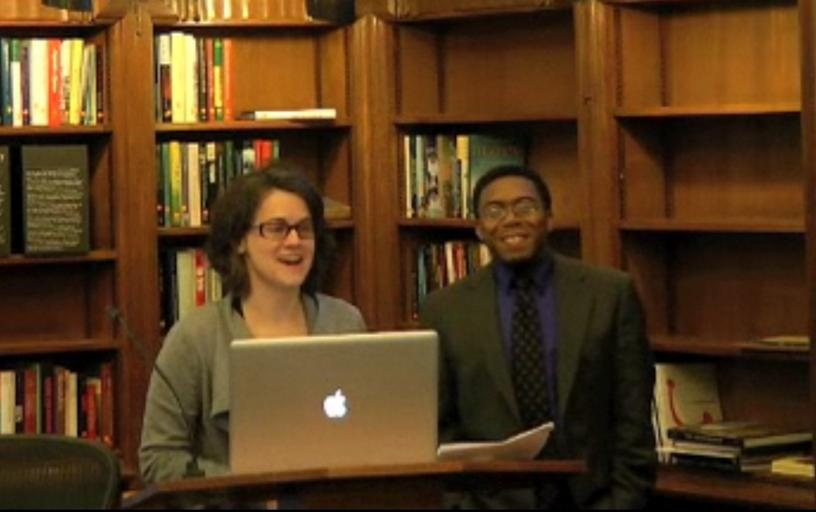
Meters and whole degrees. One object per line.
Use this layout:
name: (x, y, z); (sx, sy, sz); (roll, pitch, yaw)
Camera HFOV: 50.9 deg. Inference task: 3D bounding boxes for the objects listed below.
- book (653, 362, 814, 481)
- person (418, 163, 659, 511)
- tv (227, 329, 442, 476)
book: (1.269, 0.627, 3.462); (0.410, 0.331, 0.547); (0, 2, -38)
person: (0.434, 0.242, 2.945); (0.787, 1.076, 0.522); (2, 5, 21)
tv: (-0.201, 0.397, 2.338); (0.567, 0.367, 0.390); (0, 2, -6)
